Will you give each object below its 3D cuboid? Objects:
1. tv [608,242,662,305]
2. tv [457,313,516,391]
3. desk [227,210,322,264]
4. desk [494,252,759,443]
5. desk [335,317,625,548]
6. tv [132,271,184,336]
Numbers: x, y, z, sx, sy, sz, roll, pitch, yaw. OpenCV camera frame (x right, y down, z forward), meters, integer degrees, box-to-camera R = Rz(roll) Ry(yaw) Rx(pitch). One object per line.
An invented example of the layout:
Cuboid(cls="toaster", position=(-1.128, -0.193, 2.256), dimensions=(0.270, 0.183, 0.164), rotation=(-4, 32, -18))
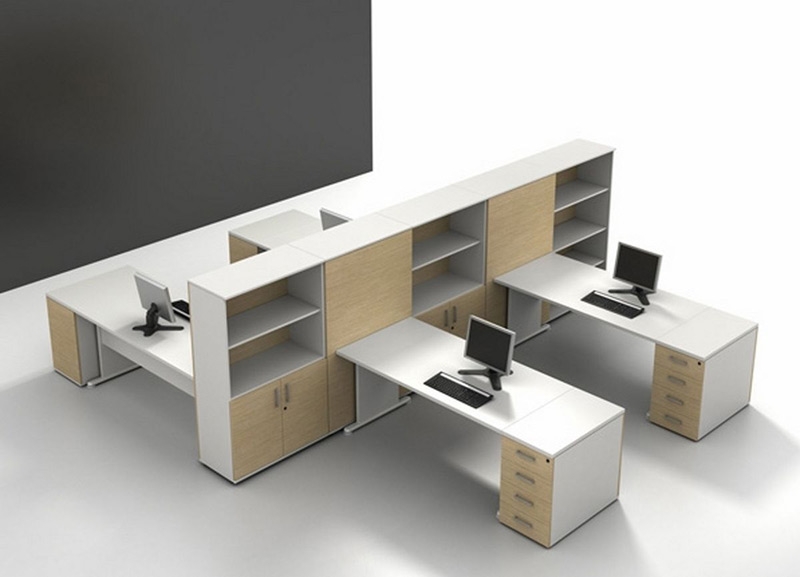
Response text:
Cuboid(cls="tv", position=(2.305, -0.129, 6.716), dimensions=(0.512, 0.564, 0.446), rotation=(25, 45, 33))
Cuboid(cls="tv", position=(0.692, 0.543, 5.614), dimensions=(0.362, 0.422, 0.398), rotation=(-24, 35, -37))
Cuboid(cls="desk", position=(-1.431, -0.640, 7.655), dimensions=(0.948, 0.470, 0.675), rotation=(-25, 34, -39))
Cuboid(cls="desk", position=(2.127, 0.492, 6.840), dimensions=(1.028, 0.888, 2.314), rotation=(-23, 32, -35))
Cuboid(cls="desk", position=(0.617, 1.071, 5.615), dimensions=(2.275, 0.785, 0.956), rotation=(25, 38, 37))
Cuboid(cls="tv", position=(-2.297, 0.163, 6.474), dimensions=(0.477, 0.468, 0.355), rotation=(24, 34, 34))
